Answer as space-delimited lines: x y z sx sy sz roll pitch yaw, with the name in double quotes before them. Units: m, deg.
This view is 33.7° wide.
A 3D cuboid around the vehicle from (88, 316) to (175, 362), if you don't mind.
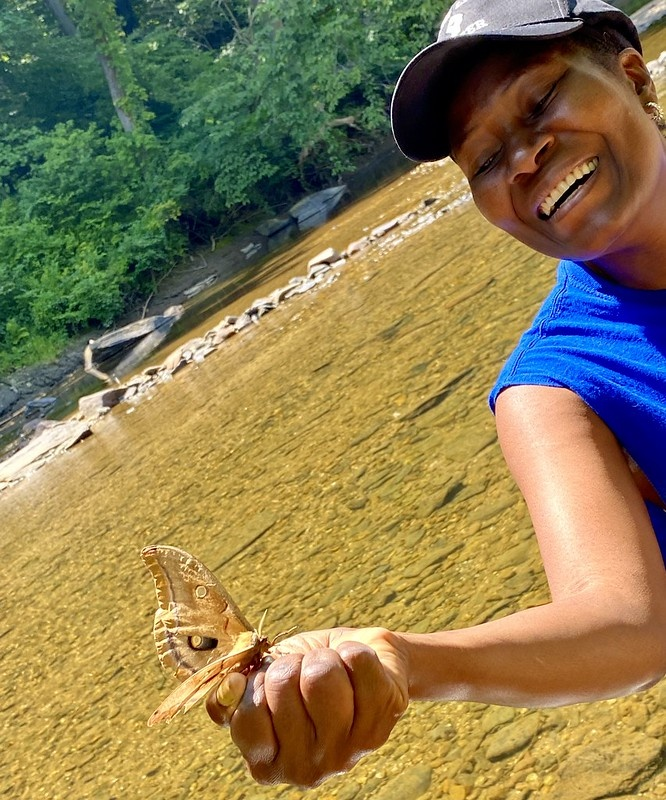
"vehicle" -4.149 -1.252 22.185 2.120 0.438 0.717 -25 44 -34
